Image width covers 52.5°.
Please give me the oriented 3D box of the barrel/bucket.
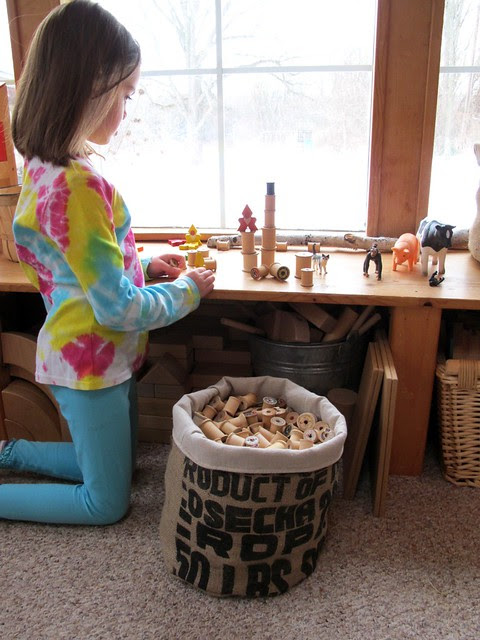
[{"bbox_3d":[0.243,0.212,1.868,0.233,0.215,0.253,-2,5,0],"label":"barrel/bucket"}]
